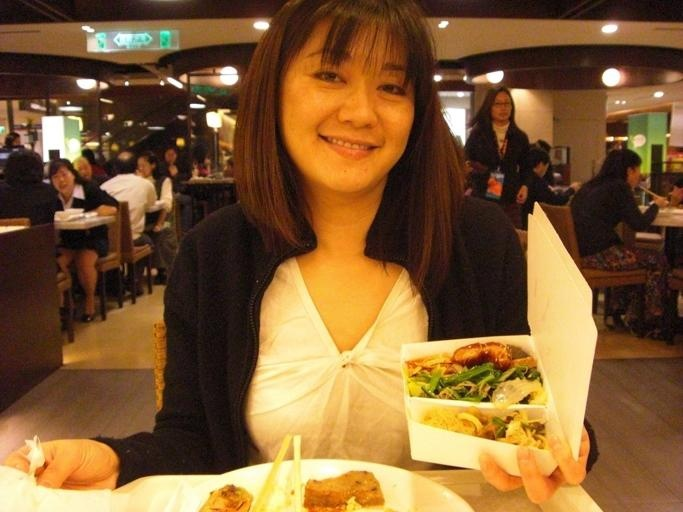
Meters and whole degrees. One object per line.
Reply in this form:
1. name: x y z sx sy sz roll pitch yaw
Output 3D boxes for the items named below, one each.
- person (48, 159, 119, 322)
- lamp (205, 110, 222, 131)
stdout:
1. person: -2.639 -0.185 5.342 0.742 1.526 0.764 -3 11 -10
2. lamp: -2.546 -2.645 10.454 0.296 0.300 0.074 -5 12 -40
